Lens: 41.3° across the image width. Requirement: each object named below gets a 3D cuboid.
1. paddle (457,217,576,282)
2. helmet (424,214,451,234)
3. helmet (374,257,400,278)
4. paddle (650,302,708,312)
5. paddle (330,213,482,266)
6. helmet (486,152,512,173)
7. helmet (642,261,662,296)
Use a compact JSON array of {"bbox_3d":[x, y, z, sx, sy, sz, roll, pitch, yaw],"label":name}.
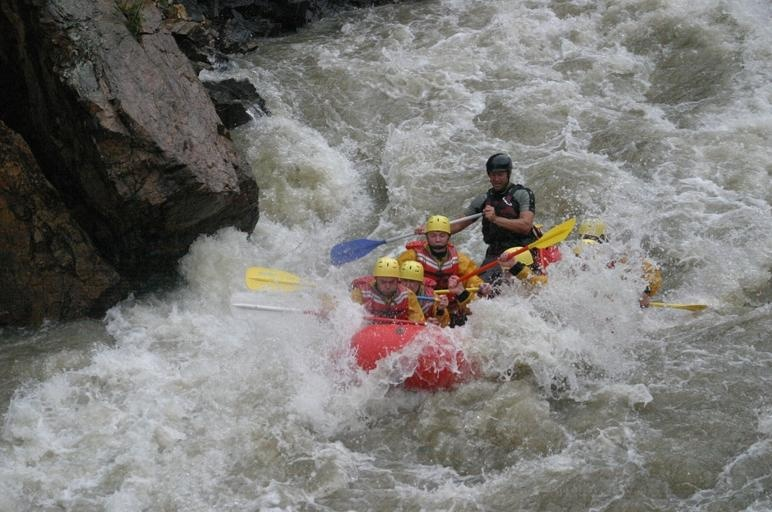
[{"bbox_3d":[1.937,-0.091,14.805,1.561,0.120,0.262,-31,64,3],"label":"paddle"},{"bbox_3d":[0.746,-0.444,14.645,0.231,0.206,0.323,4,23,2],"label":"helmet"},{"bbox_3d":[0.030,0.152,14.042,0.229,0.320,0.282,1,78,0],"label":"helmet"},{"bbox_3d":[4.038,0.680,14.097,0.767,0.101,0.069,1,99,38],"label":"paddle"},{"bbox_3d":[0.362,-0.235,15.478,2.653,0.111,0.382,-16,92,-4],"label":"paddle"},{"bbox_3d":[1.672,-1.378,14.957,0.241,0.246,0.326,4,37,20],"label":"helmet"},{"bbox_3d":[3.757,0.282,14.509,0.305,0.163,0.518,6,75,-14],"label":"helmet"}]
